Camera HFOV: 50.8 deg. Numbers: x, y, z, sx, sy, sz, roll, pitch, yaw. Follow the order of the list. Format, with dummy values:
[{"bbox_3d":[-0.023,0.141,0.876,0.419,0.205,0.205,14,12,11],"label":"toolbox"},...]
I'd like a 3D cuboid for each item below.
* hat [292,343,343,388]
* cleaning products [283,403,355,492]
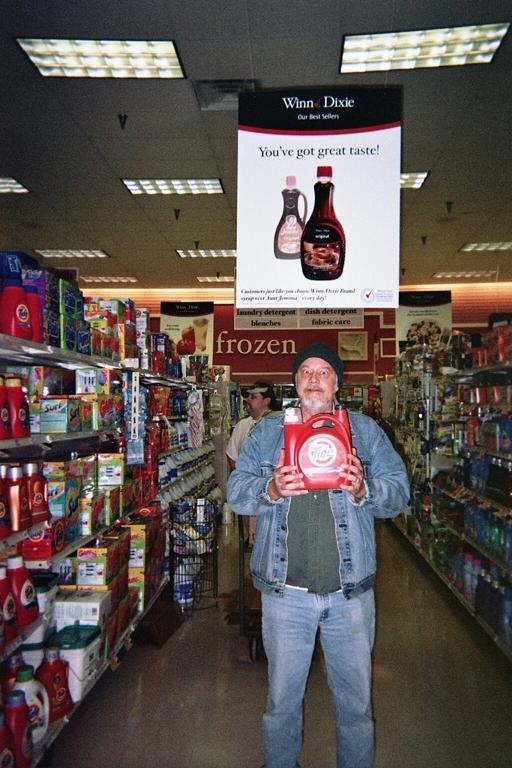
[{"bbox_3d":[0.234,-0.066,1.955,0.133,0.179,0.109,-1,27,11],"label":"hat"},{"bbox_3d":[0.179,0.190,1.524,0.190,0.255,0.094,-3,-24,2],"label":"cleaning products"}]
